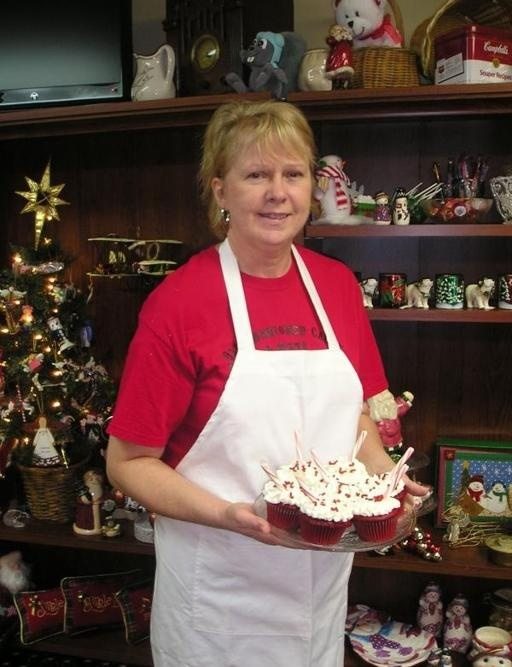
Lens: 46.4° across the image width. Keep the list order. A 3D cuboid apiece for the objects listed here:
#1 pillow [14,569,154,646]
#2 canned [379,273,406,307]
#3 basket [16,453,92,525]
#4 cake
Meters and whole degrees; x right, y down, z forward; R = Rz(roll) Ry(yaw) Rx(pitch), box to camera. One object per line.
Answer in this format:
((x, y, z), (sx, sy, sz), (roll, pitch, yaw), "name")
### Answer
((-0.547, 0.888, 1.922), (0.343, 0.221, 0.091), (-12, -11, 0), "pillow")
((0.387, -0.119, 1.707), (0.101, 0.122, 0.094), (-1, 6, 5), "canned")
((-0.622, 0.533, 1.978), (0.260, 0.180, 0.236), (9, -12, -1), "basket")
((0.140, 0.264, 1.083), (0.203, 0.113, 0.246), (0, -4, 10), "cake")
